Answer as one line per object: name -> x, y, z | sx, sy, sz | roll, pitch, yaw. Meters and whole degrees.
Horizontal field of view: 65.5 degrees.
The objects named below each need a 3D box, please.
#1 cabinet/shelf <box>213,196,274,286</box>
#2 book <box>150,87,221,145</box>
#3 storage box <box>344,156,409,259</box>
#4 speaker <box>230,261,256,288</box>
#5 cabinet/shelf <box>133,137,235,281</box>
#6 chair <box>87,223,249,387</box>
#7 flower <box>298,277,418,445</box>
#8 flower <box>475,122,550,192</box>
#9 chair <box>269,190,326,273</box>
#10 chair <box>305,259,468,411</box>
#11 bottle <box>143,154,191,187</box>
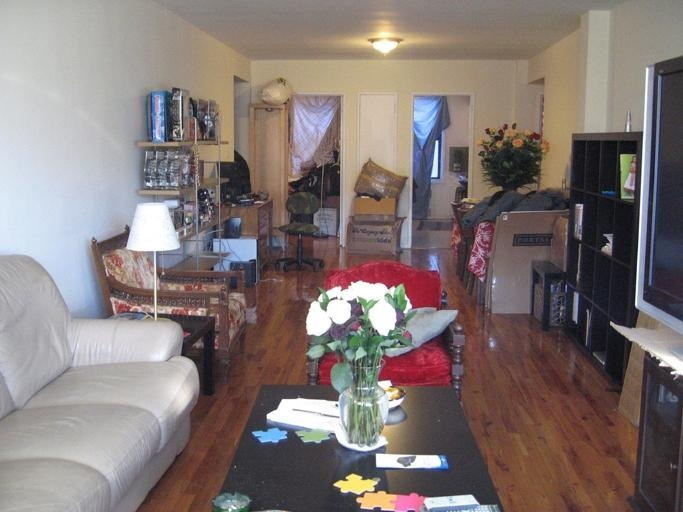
cabinet/shelf -> -1.348, -0.417, 7.985 | 0.535, 1.041, 1.693 | 4, 16, 3
book -> -1.609, -1.419, 5.429 | 0.349, 0.512, 1.212 | 3, 14, 14
storage box -> 0.568, -0.795, 8.852 | 0.949, 1.417, 0.795 | 2, 13, 8
speaker -> -1.182, 0.194, 6.559 | 0.364, 0.390, 0.381 | 0, 4, -1
cabinet/shelf -> -1.561, -0.448, 5.231 | 0.397, 0.960, 1.569 | 0, 17, -1
chair -> -1.388, 0.439, 4.500 | 1.063, 1.189, 0.869 | -1, 9, -5
flower -> 0.086, 0.479, 2.370 | 0.457, 0.739, 0.300 | 1, 13, 5
flower -> 2.090, -1.326, 6.591 | 0.742, 0.726, 0.786 | -14, -4, 0
chair -> -0.634, -0.371, 8.100 | 0.721, 1.122, 0.812 | 2, -2, 17
chair -> 0.386, 0.544, 3.678 | 0.970, 0.859, 0.985 | 9, 20, 24
bottle -> -1.656, -0.837, 5.141 | 0.483, 0.348, 0.349 | -7, 15, -29
